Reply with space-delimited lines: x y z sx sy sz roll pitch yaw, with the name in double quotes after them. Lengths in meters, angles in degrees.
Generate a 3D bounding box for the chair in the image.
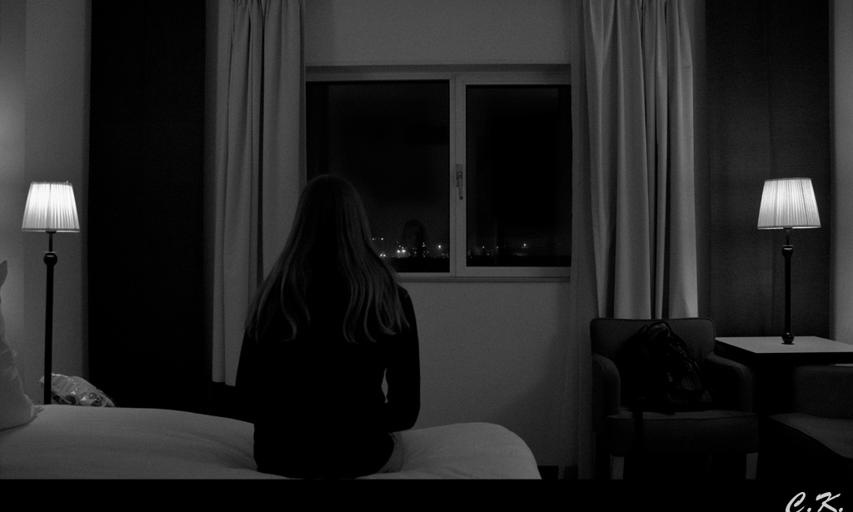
1.696 1.075 5.476 1.151 1.294 1.100 0 -2 -6 "chair"

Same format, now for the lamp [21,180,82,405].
-2.602 0.219 5.273 0.350 1.494 0.832 2 0 -25 "lamp"

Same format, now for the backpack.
1.598 0.743 5.334 0.535 0.485 0.385 -15 1 13 "backpack"

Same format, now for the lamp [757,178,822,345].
2.572 0.026 5.511 0.392 1.179 0.377 2 0 20 "lamp"
